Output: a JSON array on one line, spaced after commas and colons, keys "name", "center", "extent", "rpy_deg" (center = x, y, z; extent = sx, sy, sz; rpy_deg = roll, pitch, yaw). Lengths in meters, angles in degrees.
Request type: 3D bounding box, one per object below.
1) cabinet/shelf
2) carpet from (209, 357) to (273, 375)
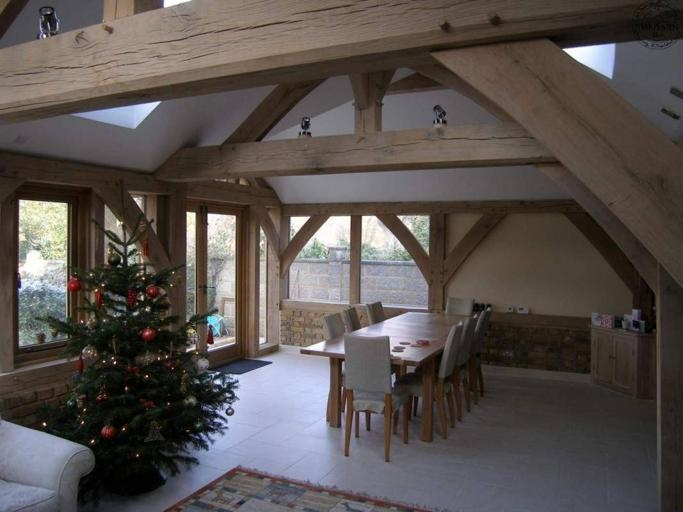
[{"name": "cabinet/shelf", "center": [3.781, 1.399, 7.172], "extent": [0.419, 0.870, 0.884], "rpy_deg": [0, 2, -21]}, {"name": "carpet", "center": [-1.531, 1.674, 8.234], "extent": [0.636, 0.090, 1.071], "rpy_deg": [2, 5, 22]}]
